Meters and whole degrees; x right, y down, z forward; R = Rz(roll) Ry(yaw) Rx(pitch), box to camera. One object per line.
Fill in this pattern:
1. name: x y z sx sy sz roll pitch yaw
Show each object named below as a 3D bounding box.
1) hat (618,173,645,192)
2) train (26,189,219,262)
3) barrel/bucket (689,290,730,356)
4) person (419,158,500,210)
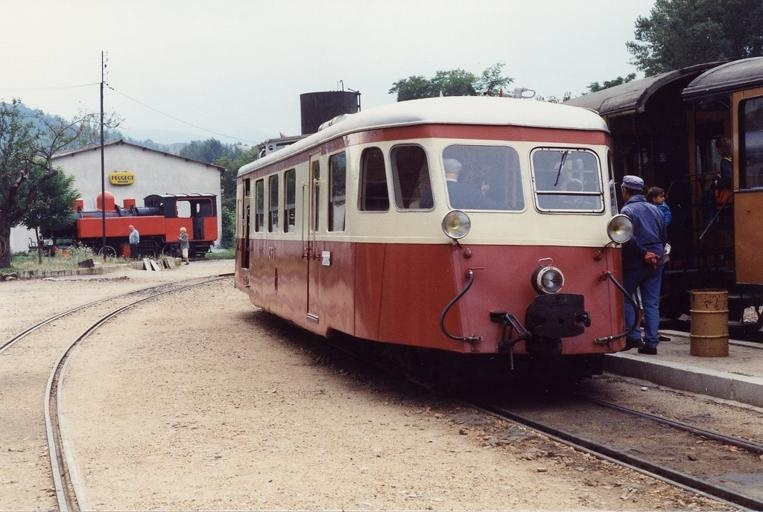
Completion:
1. hat: 3.815 -1.089 10.644 0.374 0.259 0.491 -1 -1 -1
2. train: -17.372 -2.148 46.411 12.484 5.157 3.990 -3 5 -33
3. barrel/bucket: 4.798 0.982 10.162 0.510 0.936 0.391 0 5 19
4. person: 1.044 -0.838 8.723 0.717 0.669 0.165 5 -5 -13
